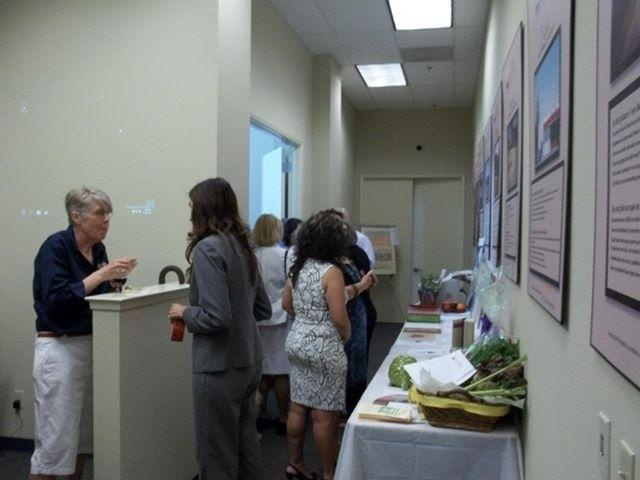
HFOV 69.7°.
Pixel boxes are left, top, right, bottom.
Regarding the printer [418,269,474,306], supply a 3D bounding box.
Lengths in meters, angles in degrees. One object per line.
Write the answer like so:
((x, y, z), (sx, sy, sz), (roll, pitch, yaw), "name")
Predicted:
((1.488, 0.581, 5.371), (0.596, 0.336, 0.737), (-1, -2, 14), "printer")

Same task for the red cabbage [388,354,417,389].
((0.437, 0.710, 2.474), (0.131, 0.178, 0.090), (-24, -40, 38), "red cabbage")

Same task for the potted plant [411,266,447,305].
((1.078, 0.470, 4.577), (0.310, 0.371, 0.248), (-2, 4, -27), "potted plant")

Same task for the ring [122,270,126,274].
((-1.013, 0.163, 2.375), (0.015, 0.017, 0.004), (3, 4, -30), "ring")

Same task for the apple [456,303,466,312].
((1.440, 0.693, 4.735), (0.074, 0.041, 0.081), (3, 9, 12), "apple")

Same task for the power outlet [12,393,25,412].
((-2.250, 1.212, 3.422), (0.087, 0.145, 0.032), (-1, 1, 25), "power outlet")

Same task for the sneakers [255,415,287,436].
((-0.411, 1.562, 3.886), (0.373, 0.177, 0.133), (-3, -4, 18), "sneakers")

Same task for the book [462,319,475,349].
((0.839, 0.537, 2.613), (0.045, 0.145, 0.142), (0, 2, 7), "book")

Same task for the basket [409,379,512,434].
((0.587, 0.659, 1.911), (0.240, 0.112, 0.205), (2, -7, 12), "basket")
